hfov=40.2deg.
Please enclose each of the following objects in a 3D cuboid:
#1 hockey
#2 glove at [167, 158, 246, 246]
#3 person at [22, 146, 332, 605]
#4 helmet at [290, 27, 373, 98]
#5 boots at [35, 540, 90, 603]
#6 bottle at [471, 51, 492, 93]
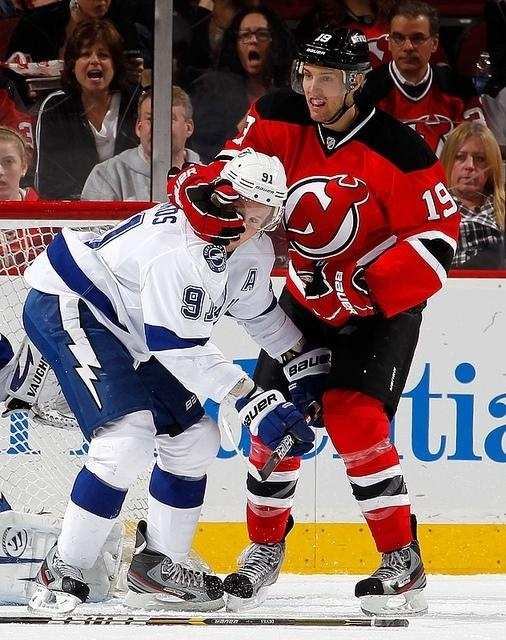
[{"bbox_3d":[0.049,0.273,1.743,0.288,0.061,0.247,7,17,-21],"label":"hockey"},{"bbox_3d":[-0.113,-0.262,1.540,0.108,0.145,0.208,-21,48,-36],"label":"glove"},{"bbox_3d":[-0.190,0.169,1.692,0.727,1.153,0.432,-2,15,-14],"label":"person"},{"bbox_3d":[0.204,-0.634,1.719,0.217,0.152,0.156,19,13,1],"label":"helmet"},{"bbox_3d":[-0.427,0.599,1.629,0.094,0.071,0.194,-29,36,24],"label":"boots"},{"bbox_3d":[0.901,-0.976,2.716,0.072,0.144,0.119,8,2,12],"label":"bottle"}]
